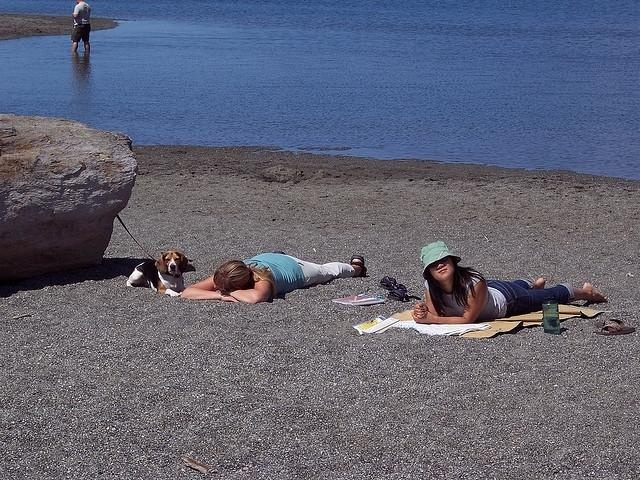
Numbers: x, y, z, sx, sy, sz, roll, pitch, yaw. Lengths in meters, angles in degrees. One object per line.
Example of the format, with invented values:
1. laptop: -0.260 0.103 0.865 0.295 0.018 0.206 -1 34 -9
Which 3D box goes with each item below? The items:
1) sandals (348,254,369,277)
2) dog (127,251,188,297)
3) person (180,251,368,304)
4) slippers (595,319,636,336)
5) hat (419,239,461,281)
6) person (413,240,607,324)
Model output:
1. sandals: 0.472 0.315 9.168 0.133 0.327 0.223 -21 35 9
2. dog: -1.795 0.346 8.382 0.787 0.461 0.412 14 23 32
3. person: -0.370 0.404 8.514 1.670 0.272 0.675 -5 8 -39
4. slippers: 2.881 0.847 7.217 0.358 0.098 0.325 8 18 17
5. hat: 1.195 0.195 7.487 0.399 0.230 0.477 -35 -16 14
6. person: 1.907 0.439 7.605 1.799 0.534 0.803 -2 -3 -13
